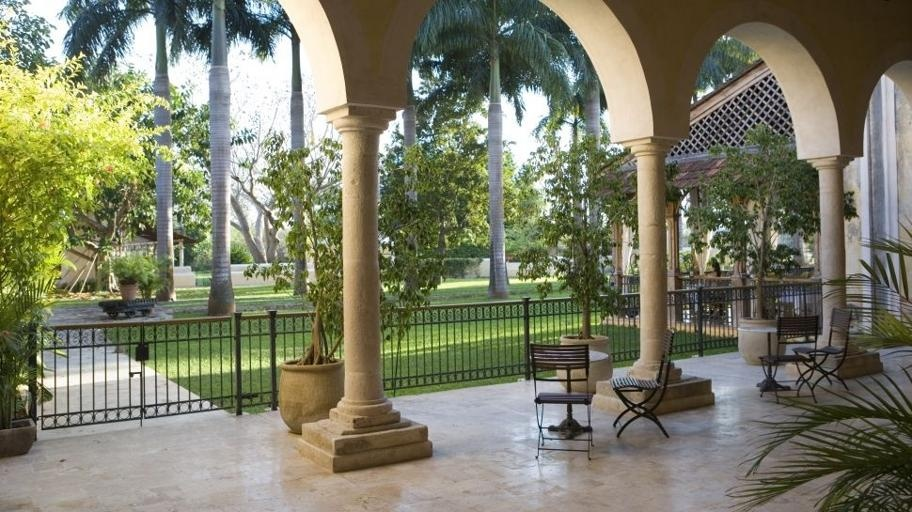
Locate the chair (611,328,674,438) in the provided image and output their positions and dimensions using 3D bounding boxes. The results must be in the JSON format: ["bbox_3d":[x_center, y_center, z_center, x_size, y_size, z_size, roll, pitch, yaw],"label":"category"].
[{"bbox_3d":[3.262,2.144,12.070,0.990,1.678,1.538,2,9,17],"label":"chair"}]

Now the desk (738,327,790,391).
[{"bbox_3d":[6.983,2.310,15.715,1.017,1.487,1.016,9,-25,-32],"label":"desk"}]

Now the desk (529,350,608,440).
[{"bbox_3d":[1.864,2.294,11.708,1.082,1.617,1.227,-5,-3,28],"label":"desk"}]

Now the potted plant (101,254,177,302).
[{"bbox_3d":[-13.174,0.752,28.726,2.251,1.939,2.317,-5,-5,39],"label":"potted plant"}]
